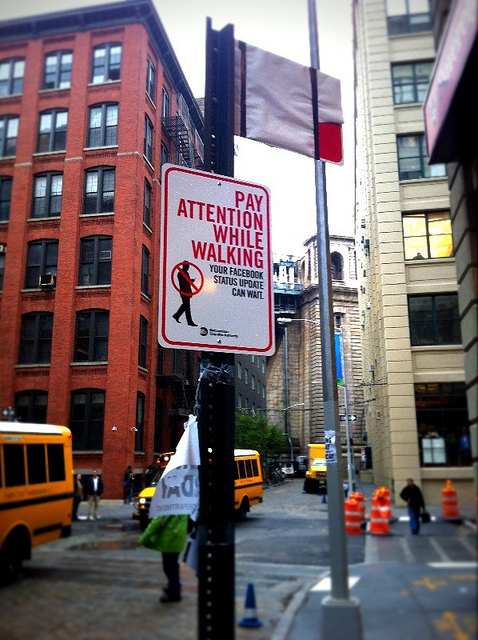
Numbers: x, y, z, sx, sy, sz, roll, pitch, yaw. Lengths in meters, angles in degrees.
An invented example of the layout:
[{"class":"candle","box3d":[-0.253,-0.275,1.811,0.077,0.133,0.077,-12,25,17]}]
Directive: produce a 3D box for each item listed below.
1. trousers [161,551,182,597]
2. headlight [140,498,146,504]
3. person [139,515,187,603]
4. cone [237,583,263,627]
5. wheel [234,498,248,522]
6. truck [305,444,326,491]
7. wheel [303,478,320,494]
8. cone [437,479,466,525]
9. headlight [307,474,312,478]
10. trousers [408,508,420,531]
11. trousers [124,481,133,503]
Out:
[{"class":"trousers","box3d":[-1.053,3.767,8.407,0.292,1.050,0.278,3,7,0]},{"class":"headlight","box3d":[-3.013,5.672,16.954,0.169,0.176,0.057,-1,-13,4]},{"class":"person","box3d":[-1.114,3.596,8.048,0.663,1.384,1.030,-1,-14,-8]},{"class":"cone","box3d":[0.125,3.624,6.894,0.284,0.420,0.314,-9,-19,24]},{"class":"wheel","box3d":[0.084,7.214,20.579,0.378,0.842,1.207,-4,-14,5]},{"class":"truck","box3d":[5.814,10.069,37.912,2.127,2.777,4.708,1,-7,11]},{"class":"wheel","box3d":[4.841,11.148,36.325,0.714,1.357,1.324,-1,0,37]},{"class":"cone","box3d":[5.019,4.338,12.962,0.705,0.828,0.722,-6,-11,23]},{"class":"headlight","box3d":[4.611,10.348,35.874,0.382,0.396,0.215,0,-19,3]},{"class":"trousers","box3d":[4.873,5.626,15.209,0.283,0.584,0.256,-11,-16,29]},{"class":"trousers","box3d":[-5.638,8.835,27.648,0.417,1.106,2.419,0,-14,-12]}]
